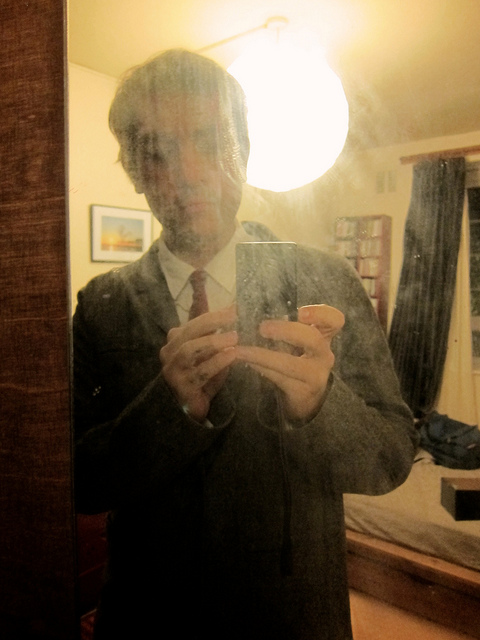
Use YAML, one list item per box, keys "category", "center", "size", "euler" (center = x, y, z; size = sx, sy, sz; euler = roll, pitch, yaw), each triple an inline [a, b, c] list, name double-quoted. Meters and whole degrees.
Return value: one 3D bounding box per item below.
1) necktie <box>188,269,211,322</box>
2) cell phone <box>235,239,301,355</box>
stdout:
- category: "necktie"
  center: [-0.062, -0.038, 0.858]
  size: [0.032, 0.074, 0.030]
  euler: [1, 11, -5]
- category: "cell phone"
  center: [0.040, -0.033, 0.794]
  size: [0.093, 0.159, 0.054]
  euler: [2, 11, -1]
